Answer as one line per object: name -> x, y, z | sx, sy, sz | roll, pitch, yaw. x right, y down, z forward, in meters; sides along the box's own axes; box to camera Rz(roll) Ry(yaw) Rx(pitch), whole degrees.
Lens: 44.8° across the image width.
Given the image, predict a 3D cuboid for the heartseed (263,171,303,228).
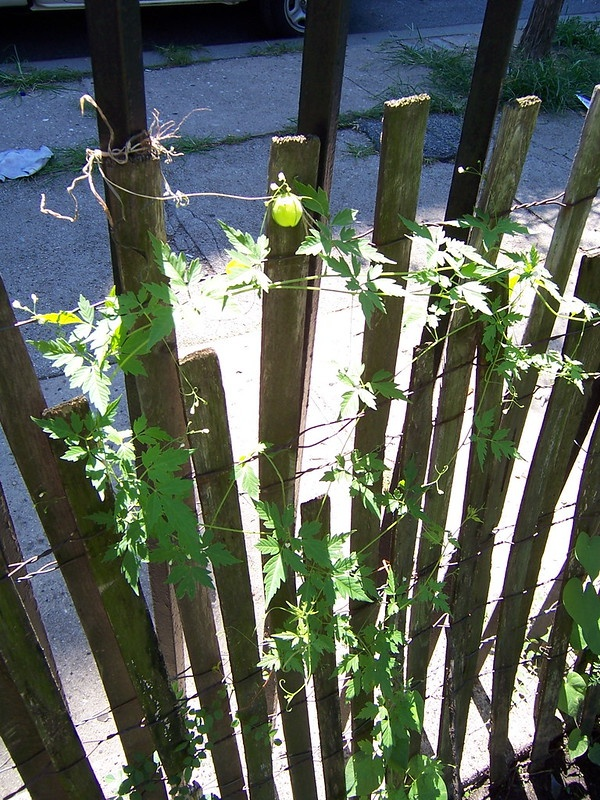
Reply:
heartseed -> -0.023, -0.291, 1.090 | 0.046, 0.066, 0.049 | -8, -1, 9
